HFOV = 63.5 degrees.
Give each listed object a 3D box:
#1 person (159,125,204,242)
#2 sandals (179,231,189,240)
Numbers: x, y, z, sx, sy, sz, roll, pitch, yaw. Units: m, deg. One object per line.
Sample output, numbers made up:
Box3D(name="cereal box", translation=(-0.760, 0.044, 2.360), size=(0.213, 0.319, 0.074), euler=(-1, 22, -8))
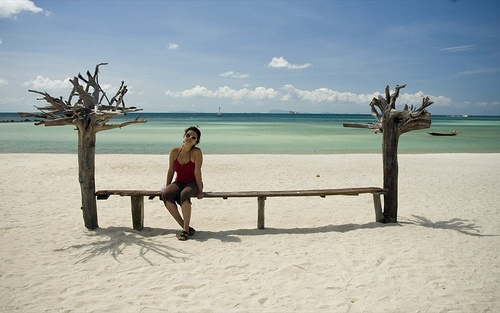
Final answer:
Box3D(name="person", translation=(-1.768, 0.686, 10.837), size=(0.975, 2.830, 1.075), euler=(11, 19, 35))
Box3D(name="sandals", translation=(-1.740, 2.076, 10.622), size=(0.280, 0.221, 0.153), euler=(-2, 15, -8))
